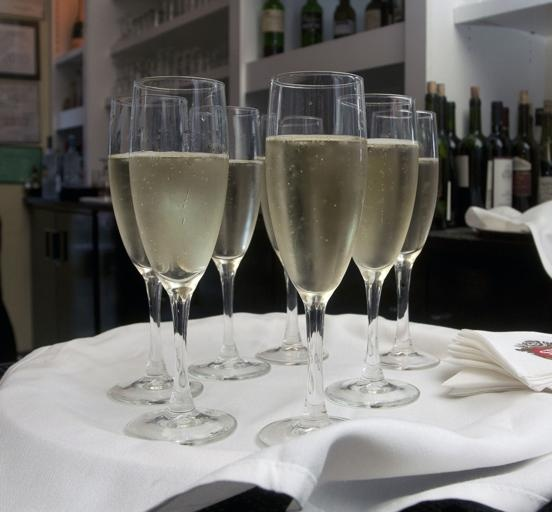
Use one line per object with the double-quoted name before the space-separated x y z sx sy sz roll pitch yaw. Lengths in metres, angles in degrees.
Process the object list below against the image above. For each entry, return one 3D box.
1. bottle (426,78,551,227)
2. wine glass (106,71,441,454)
"bottle" 0.602 -0.303 1.746 0.278 0.417 0.284 -3 6 0
"wine glass" 0.015 -0.005 0.479 0.288 0.277 0.145 -8 8 -36
